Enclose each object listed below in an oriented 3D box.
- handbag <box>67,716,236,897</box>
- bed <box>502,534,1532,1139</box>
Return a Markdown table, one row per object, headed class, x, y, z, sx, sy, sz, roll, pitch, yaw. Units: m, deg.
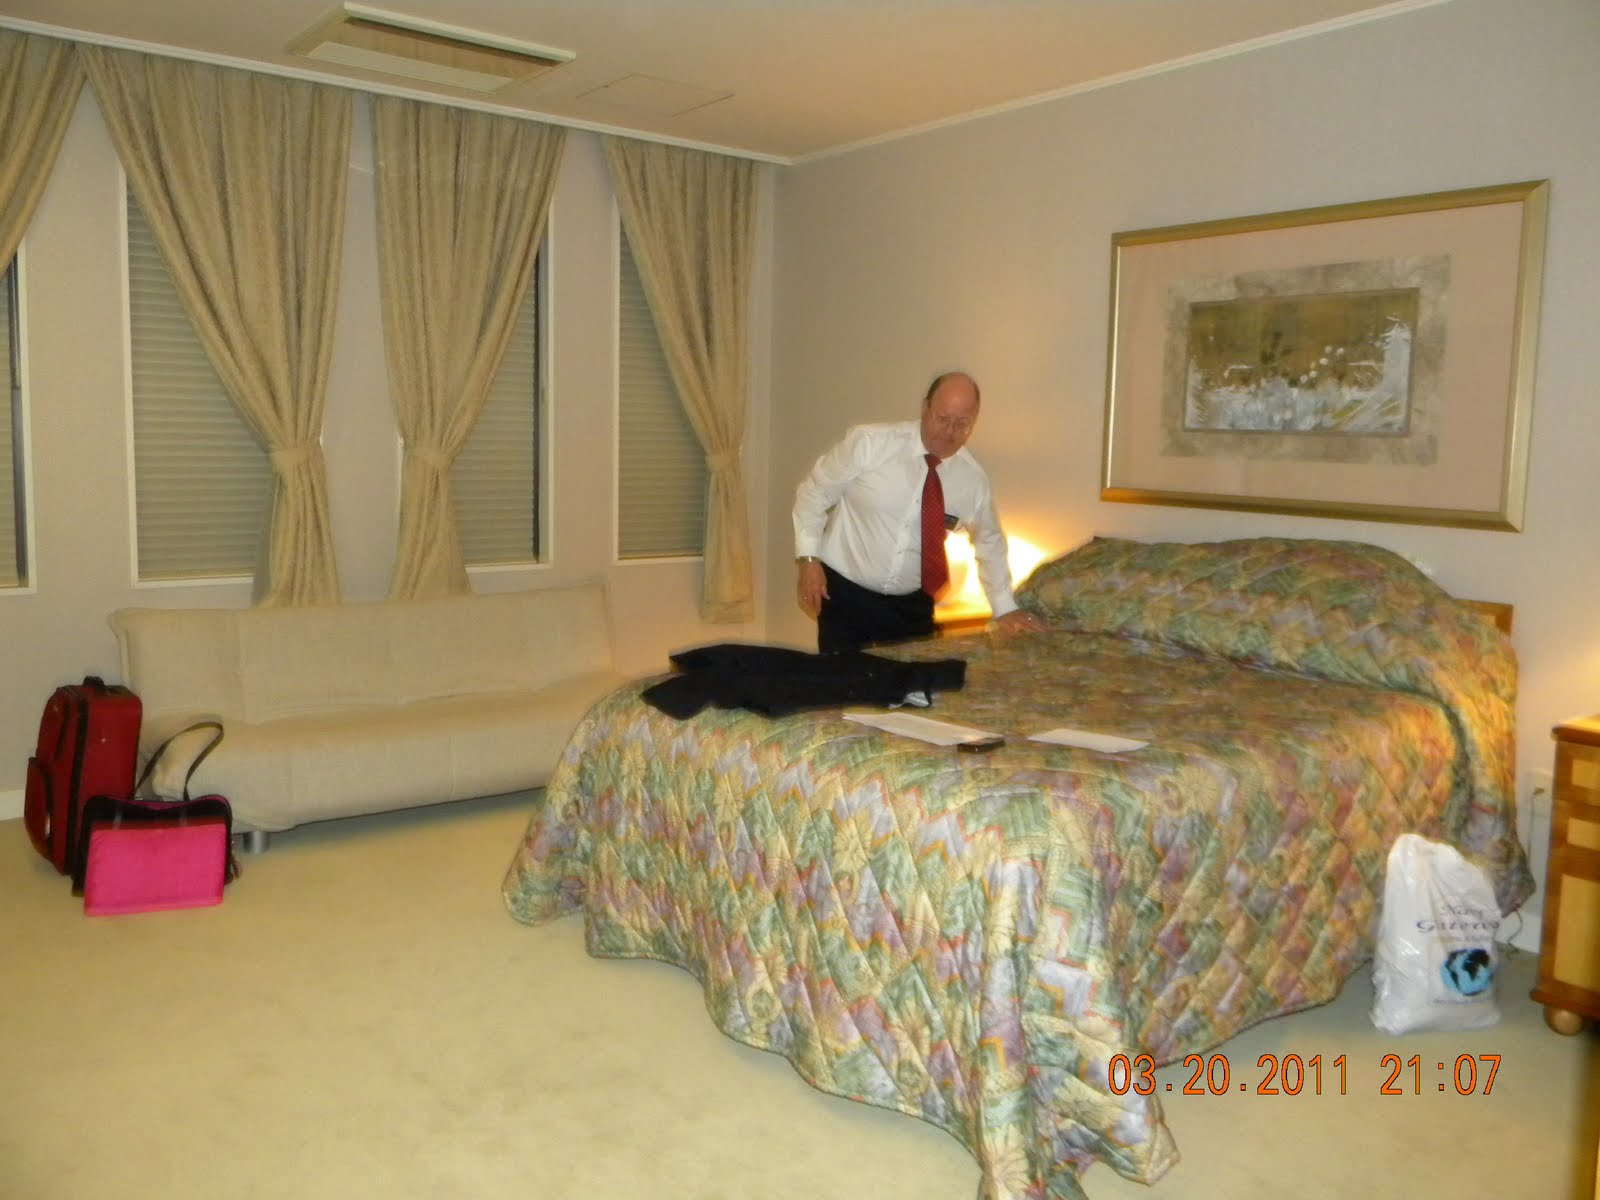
| class | x | y | z | sx | sy | sz | roll | pitch | yaw |
| --- | --- | --- | --- | --- | --- | --- | --- | --- | --- |
| handbag | -2.197 | 0.782 | 4.229 | 0.576 | 0.757 | 0.417 | 2 | -20 | -20 |
| bed | 1.007 | 0.594 | 3.502 | 2.232 | 1.041 | 1.794 | -3 | 7 | -37 |
